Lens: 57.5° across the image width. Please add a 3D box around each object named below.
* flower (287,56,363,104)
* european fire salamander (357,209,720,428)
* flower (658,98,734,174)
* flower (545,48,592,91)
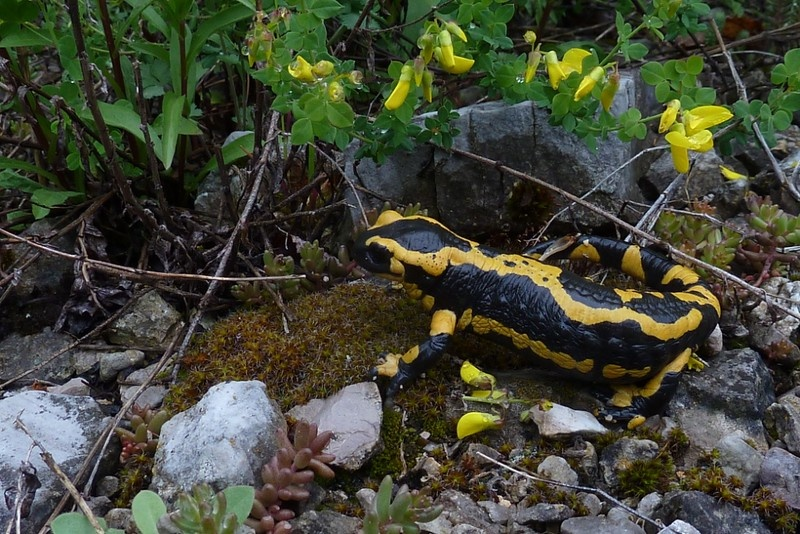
[{"bbox_3d":[-0.436,-1.104,4.176,0.341,0.299,0.314,-2,17,-1],"label":"flower"},{"bbox_3d":[0.866,0.284,4.444,2.077,0.707,1.011,7,45,3],"label":"european fire salamander"},{"bbox_3d":[1.709,-0.811,4.353,0.353,0.399,0.496,0,79,4],"label":"flower"},{"bbox_3d":[0.996,-1.228,4.395,0.275,0.279,0.104,-24,16,-3],"label":"flower"}]
